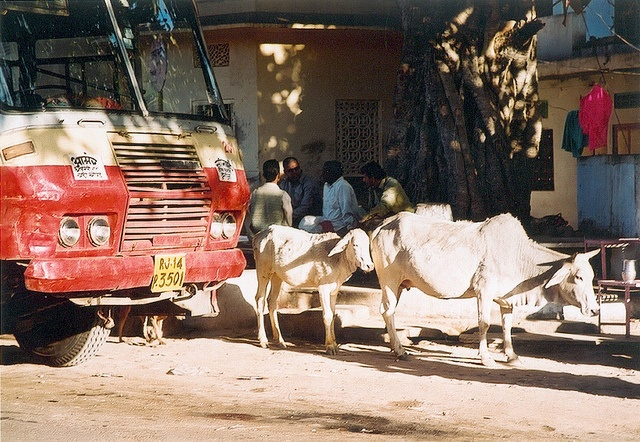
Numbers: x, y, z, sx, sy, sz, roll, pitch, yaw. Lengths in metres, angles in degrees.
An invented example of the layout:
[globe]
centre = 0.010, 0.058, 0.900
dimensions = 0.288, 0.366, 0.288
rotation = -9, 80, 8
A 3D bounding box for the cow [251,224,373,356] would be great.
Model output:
[cow]
centre = -0.212, 1.002, 13.777
dimensions = 2.019, 1.930, 0.657
rotation = 5, 12, 22
